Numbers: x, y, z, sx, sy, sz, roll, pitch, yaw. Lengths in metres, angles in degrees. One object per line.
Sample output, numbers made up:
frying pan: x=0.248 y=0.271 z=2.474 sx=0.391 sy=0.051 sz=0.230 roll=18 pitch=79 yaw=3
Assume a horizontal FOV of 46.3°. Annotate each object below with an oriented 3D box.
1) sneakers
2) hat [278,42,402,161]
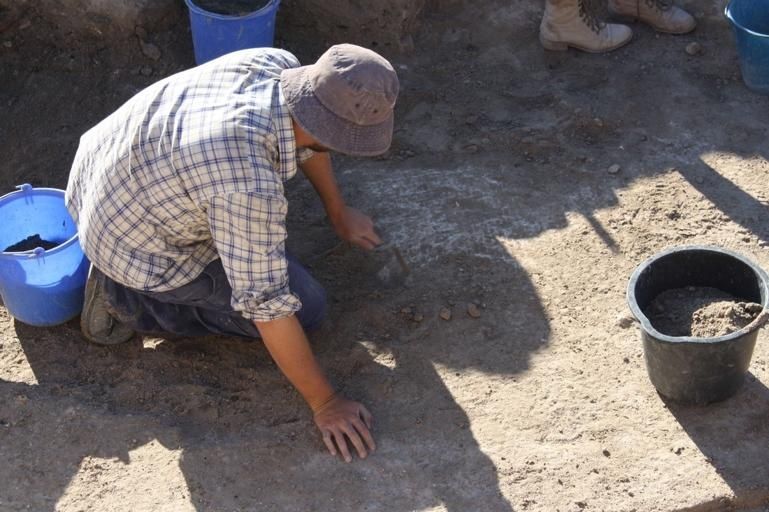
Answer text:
sneakers: x=-1.421 y=0.244 z=4.594 sx=0.303 sy=0.384 sz=0.157 roll=-8 pitch=19 yaw=11
hat: x=-0.209 y=-0.654 z=3.939 sx=0.505 sy=0.420 sz=0.409 roll=1 pitch=53 yaw=-5
